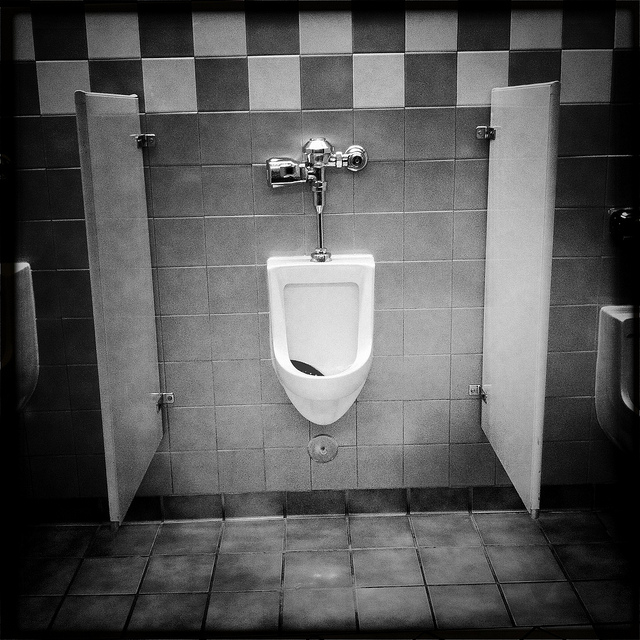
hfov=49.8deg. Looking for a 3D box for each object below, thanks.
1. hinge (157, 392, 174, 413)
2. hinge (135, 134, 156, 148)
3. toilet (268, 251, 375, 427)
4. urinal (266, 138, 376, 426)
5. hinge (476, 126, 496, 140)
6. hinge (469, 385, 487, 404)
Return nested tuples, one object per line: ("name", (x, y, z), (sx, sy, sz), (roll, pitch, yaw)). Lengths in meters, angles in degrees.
("hinge", (-0.574, 0.303, 2.565), (0.055, 0.059, 0.036), (-3, 11, -10))
("hinge", (-0.600, -0.610, 2.350), (0.072, 0.058, 0.044), (-3, 6, -8))
("toilet", (0.002, 0.037, 2.396), (0.380, 0.661, 0.429), (-1, 32, 1))
("urinal", (-0.005, -0.178, 2.320), (0.378, 0.842, 0.363), (0, 11, 4))
("hinge", (0.574, -0.642, 2.369), (0.029, 0.045, 0.077), (-9, 14, -33))
("hinge", (0.595, 0.277, 2.590), (0.049, 0.059, 0.055), (-8, 16, -11))
